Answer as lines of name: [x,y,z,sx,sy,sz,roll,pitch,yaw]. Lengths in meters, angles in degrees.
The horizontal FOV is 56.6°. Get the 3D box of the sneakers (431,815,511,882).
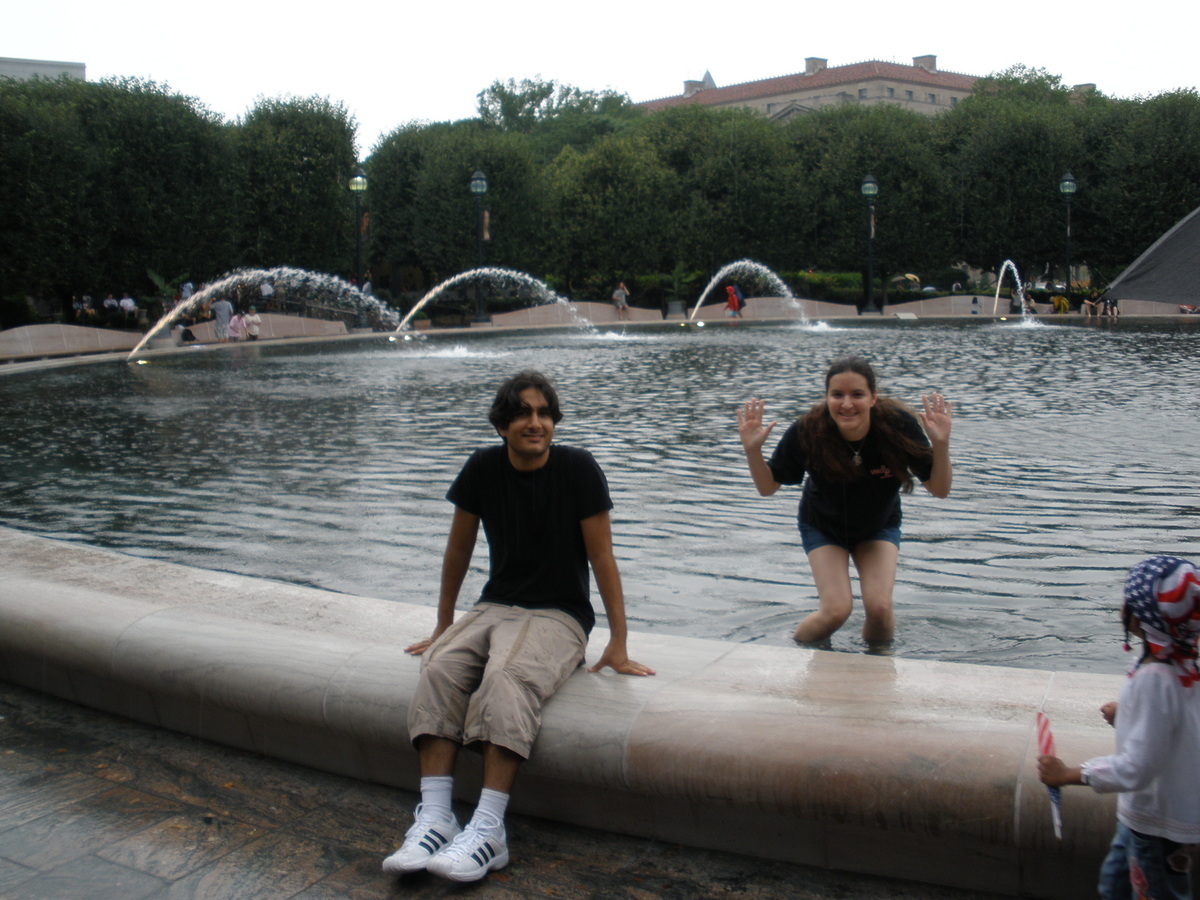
sneakers: [-0.427,1.365,3.795,0.116,0.153,0.340,-6,-13,29]

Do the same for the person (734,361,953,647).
person: [1.344,0.292,5.788,0.876,1.532,0.686,0,6,17]

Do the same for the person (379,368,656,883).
person: [-0.316,0.566,4.317,0.871,1.692,1.241,-1,6,5]
